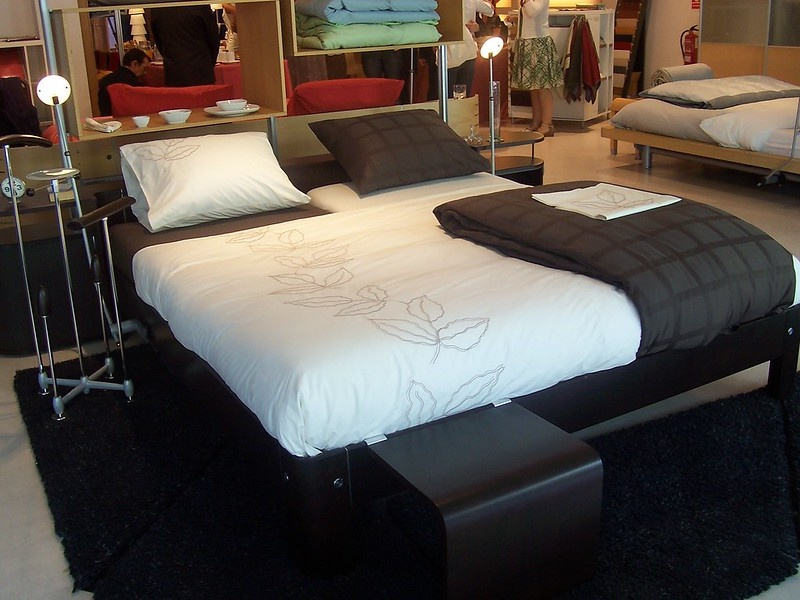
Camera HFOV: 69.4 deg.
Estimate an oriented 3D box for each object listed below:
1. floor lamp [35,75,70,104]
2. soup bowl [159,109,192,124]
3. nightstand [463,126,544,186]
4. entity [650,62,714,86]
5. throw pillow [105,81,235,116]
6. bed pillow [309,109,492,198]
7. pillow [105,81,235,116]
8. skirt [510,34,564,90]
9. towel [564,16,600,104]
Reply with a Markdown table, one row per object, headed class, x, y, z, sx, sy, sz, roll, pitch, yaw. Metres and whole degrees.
| class | x | y | z | sx | sy | sz | roll | pitch | yaw |
| --- | --- | --- | --- | --- | --- | --- | --- | --- | --- |
| floor lamp | -1.470 | -0.895 | 2.463 | 0.112 | 0.125 | 0.199 | -14 | 23 | -24 |
| soup bowl | -1.205 | -0.985 | 3.095 | 0.127 | 0.044 | 0.118 | 0 | 20 | 0 |
| nightstand | 0.818 | -0.930 | 4.052 | 0.445 | 0.256 | 0.329 | -3 | 21 | 38 |
| entity | 2.844 | -2.273 | 5.807 | 0.455 | 0.139 | 0.415 | -10 | 20 | -22 |
| throw pillow | -1.359 | -1.181 | 3.381 | 0.388 | 0.145 | 0.357 | -15 | 28 | -32 |
| bed pillow | 0.000 | -0.850 | 3.167 | 0.734 | 0.177 | 0.619 | -13 | 46 | -27 |
| pillow | -1.367 | -1.177 | 3.379 | 0.388 | 0.145 | 0.357 | -15 | 28 | -32 |
| skirt | 1.625 | -2.796 | 6.828 | 0.585 | 0.608 | 0.298 | 2 | 23 | 12 |
| towel | 2.211 | -2.918 | 7.023 | 0.412 | 0.976 | 0.347 | 0 | 23 | 8 |
